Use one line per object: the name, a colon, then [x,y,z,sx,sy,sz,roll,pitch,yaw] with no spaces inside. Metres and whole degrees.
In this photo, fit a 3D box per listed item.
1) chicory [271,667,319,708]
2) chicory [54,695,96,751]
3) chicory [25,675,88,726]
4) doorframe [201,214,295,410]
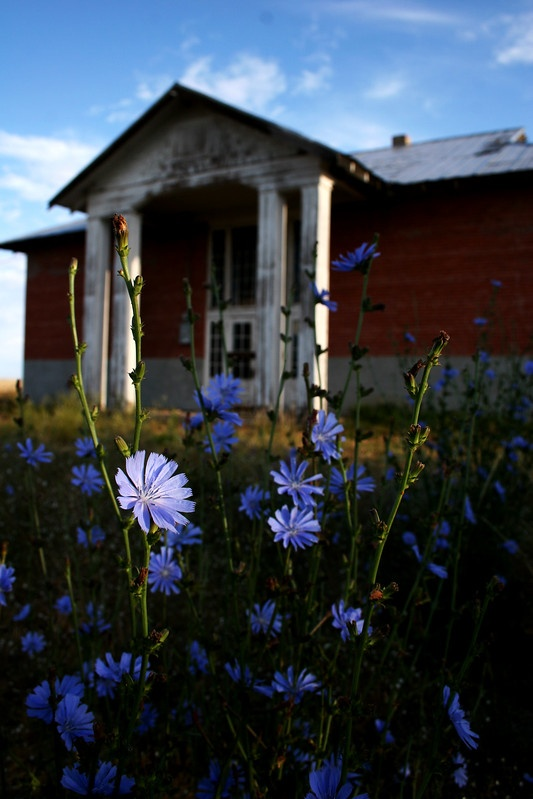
chicory: [0.041,0.385,1.028,0.068,0.021,0.065,-3,20,-32]
chicory: [-0.221,0.371,0.884,0.063,0.075,0.022,8,-33,-24]
chicory: [-0.263,0.376,0.965,0.019,0.074,0.070,42,13,-51]
doorframe: [-0.131,-0.708,5.900,0.091,1.964,1.615,-1,2,-24]
